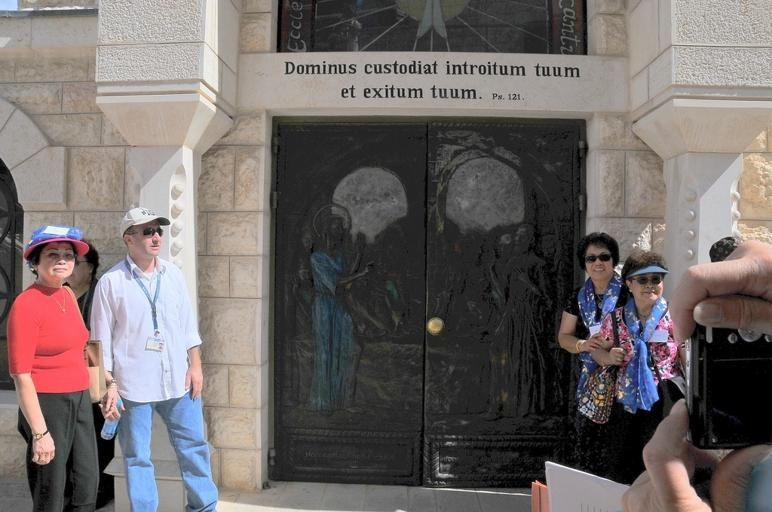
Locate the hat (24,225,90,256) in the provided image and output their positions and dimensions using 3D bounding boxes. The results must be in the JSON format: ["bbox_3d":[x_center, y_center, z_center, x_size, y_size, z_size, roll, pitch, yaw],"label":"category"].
[{"bbox_3d":[-2.664,-0.117,8.959,0.489,0.272,0.224,1,0,-17],"label":"hat"}]

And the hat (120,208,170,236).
[{"bbox_3d":[-2.009,-0.318,9.228,0.329,0.171,0.234,-24,-7,23],"label":"hat"}]

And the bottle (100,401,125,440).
[{"bbox_3d":[-2.237,1.352,9.100,0.103,0.324,0.239,13,-5,-23],"label":"bottle"}]
